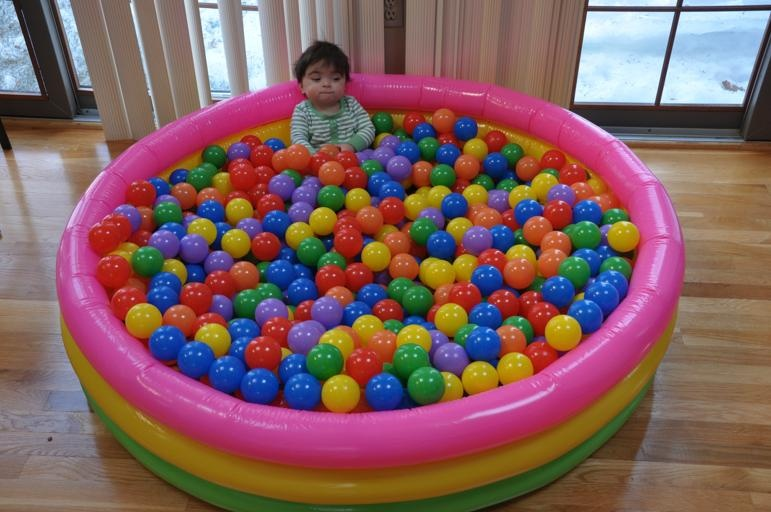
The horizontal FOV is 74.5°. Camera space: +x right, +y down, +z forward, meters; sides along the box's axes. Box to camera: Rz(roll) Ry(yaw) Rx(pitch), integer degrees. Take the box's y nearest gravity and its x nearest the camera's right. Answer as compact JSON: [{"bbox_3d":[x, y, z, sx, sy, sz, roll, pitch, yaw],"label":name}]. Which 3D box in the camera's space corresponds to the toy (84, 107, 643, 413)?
[{"bbox_3d":[-0.086,0.076,2.136,1.636,0.321,1.287,-3,37,-3],"label":"toy"}]
